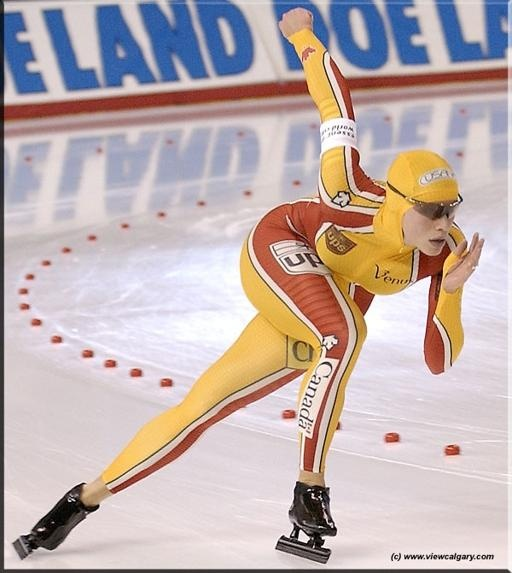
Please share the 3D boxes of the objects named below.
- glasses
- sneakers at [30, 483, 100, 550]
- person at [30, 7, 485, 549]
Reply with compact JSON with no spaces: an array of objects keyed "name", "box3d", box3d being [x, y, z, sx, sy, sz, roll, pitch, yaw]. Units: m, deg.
[{"name":"glasses","box3d":[0.349,-0.185,1.311,0.138,0.106,0.033,7,-28,-8]},{"name":"sneakers","box3d":[-0.432,0.520,1.481,0.083,0.061,0.177,38,-60,-16]},{"name":"person","box3d":[0.111,-0.011,1.492,0.731,1.276,0.583,17,-27,5]}]
